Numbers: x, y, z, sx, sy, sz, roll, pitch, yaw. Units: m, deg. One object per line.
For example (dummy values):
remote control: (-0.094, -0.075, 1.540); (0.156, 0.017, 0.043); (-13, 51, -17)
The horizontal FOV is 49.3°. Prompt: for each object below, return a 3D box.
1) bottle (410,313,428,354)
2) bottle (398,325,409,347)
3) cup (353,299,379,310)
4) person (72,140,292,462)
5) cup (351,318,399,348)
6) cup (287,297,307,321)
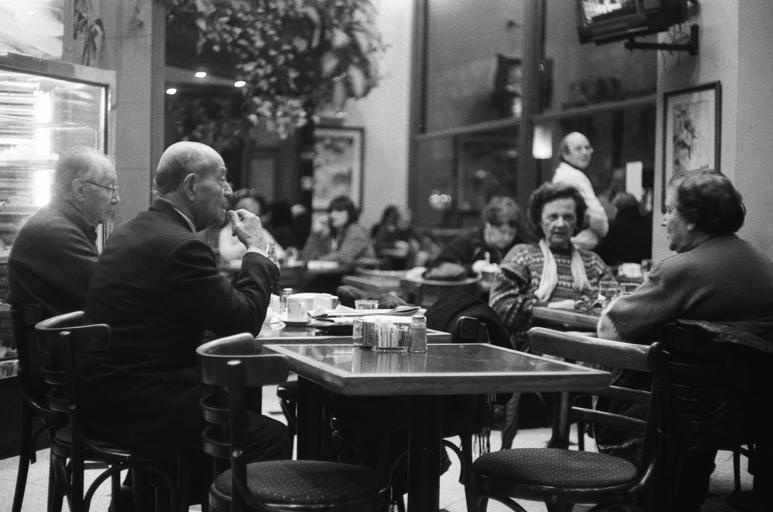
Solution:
bottle: (0.136, 0.330, 3.587); (0.078, 0.159, 0.079); (0, 0, 0)
bottle: (0.075, 0.342, 3.582); (0.039, 0.095, 0.019); (0, 0, 3)
cup: (-0.098, 0.258, 4.403); (0.073, 0.053, 0.070); (0, -4, 0)
person: (-0.939, 0.162, 3.765); (0.811, 1.371, 0.423); (0, 0, -21)
cup: (-0.041, 0.320, 3.603); (0.142, 0.098, 0.144); (1, -3, 0)
cup: (-0.479, 0.298, 4.523); (0.118, 0.117, 0.105); (0, -2, -2)
